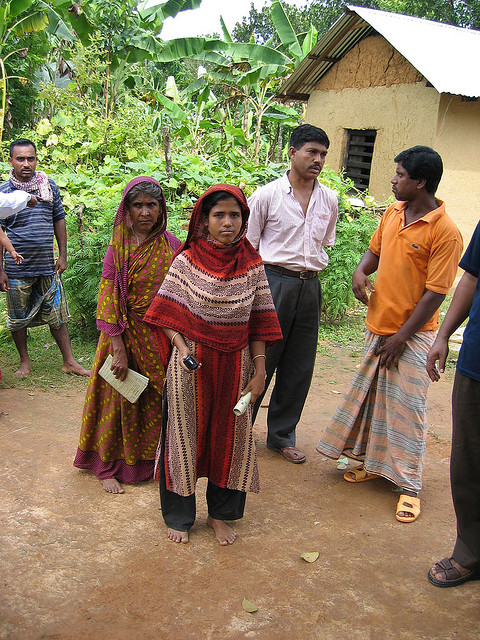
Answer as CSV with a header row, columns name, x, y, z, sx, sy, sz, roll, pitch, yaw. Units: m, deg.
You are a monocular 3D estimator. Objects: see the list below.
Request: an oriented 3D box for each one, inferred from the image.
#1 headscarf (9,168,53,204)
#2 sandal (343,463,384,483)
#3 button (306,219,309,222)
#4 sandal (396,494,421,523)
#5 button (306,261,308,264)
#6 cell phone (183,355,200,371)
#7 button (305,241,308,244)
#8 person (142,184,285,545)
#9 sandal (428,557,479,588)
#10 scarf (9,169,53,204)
name,x,y,z,sx,sy,sz,roll,pitch,yaw
headscarf,-1.779,-1.125,4.802,0.257,0.317,0.301,12,18,41
sandal,0.805,0.986,3.628,0.288,0.097,0.091,3,0,-26
button,0.415,-0.617,3.488,0.019,0.017,0.003,1,13,-26
sandal,0.950,1.055,3.161,0.127,0.099,0.198,9,10,19
button,0.414,-0.361,3.513,0.014,0.011,0.003,11,-14,-16
cell phone,-0.211,0.189,2.444,0.047,0.024,0.064,40,14,10
button,0.409,-0.483,3.504,0.013,0.010,0.020,5,-26,4
person,-0.148,0.242,2.630,0.627,1.724,0.389,7,11,3
sandal,0.958,1.138,2.538,0.211,0.052,0.105,-2,23,-5
scarf,-1.751,-1.122,4.791,0.257,0.302,0.305,12,17,40
